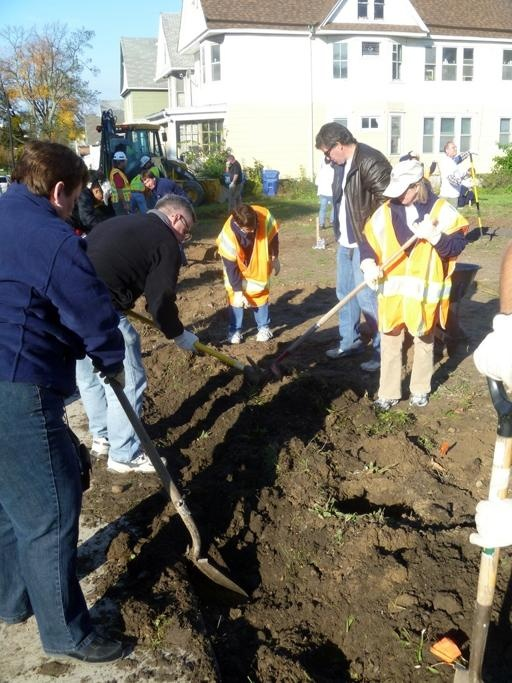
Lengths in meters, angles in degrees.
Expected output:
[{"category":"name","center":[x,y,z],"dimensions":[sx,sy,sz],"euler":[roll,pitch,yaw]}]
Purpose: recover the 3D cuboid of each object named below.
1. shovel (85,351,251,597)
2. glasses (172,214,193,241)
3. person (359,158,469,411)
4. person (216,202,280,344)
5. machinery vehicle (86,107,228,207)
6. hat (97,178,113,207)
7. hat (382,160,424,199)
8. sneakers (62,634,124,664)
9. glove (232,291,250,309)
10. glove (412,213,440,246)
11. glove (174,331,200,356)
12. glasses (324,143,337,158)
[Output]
[{"category":"shovel","center":[-0.576,0.897,3.793],"dimensions":[0.333,2.247,0.477],"euler":[-27,32,-13]},{"category":"glasses","center":[-0.478,-0.716,3.643],"dimensions":[0.143,0.060,0.112],"euler":[37,16,8]},{"category":"person","center":[1.147,-0.356,4.295],"dimensions":[0.672,1.855,0.784],"euler":[-2,12,-1]},{"category":"person","center":[-0.080,-0.649,5.984],"dimensions":[0.568,1.447,0.878],"euler":[1,12,14]},{"category":"machinery vehicle","center":[-2.558,-4.880,15.550],"dimensions":[4.019,2.084,1.317],"euler":[-2,24,-24]},{"category":"hat","center":[-1.944,-1.939,7.518],"dimensions":[0.099,0.254,0.184],"euler":[0,7,-4]},{"category":"hat","center":[0.992,-1.089,3.935],"dimensions":[0.150,0.292,0.185],"euler":[47,-3,-42]},{"category":"sneakers","center":[-0.702,1.337,2.558],"dimensions":[0.277,0.111,0.115],"euler":[-1,22,-22]},{"category":"glove","center":[-0.151,-0.432,6.062],"dimensions":[0.148,0.166,0.170],"euler":[-5,-1,-2]},{"category":"glove","center":[1.131,-0.713,3.889],"dimensions":[0.208,0.066,0.209],"euler":[31,44,0]},{"category":"glove","center":[-0.496,-0.006,4.222],"dimensions":[0.070,0.132,0.178],"euler":[52,4,21]},{"category":"glasses","center":[0.624,-1.602,4.893],"dimensions":[0.046,0.081,0.064],"euler":[6,9,34]}]
